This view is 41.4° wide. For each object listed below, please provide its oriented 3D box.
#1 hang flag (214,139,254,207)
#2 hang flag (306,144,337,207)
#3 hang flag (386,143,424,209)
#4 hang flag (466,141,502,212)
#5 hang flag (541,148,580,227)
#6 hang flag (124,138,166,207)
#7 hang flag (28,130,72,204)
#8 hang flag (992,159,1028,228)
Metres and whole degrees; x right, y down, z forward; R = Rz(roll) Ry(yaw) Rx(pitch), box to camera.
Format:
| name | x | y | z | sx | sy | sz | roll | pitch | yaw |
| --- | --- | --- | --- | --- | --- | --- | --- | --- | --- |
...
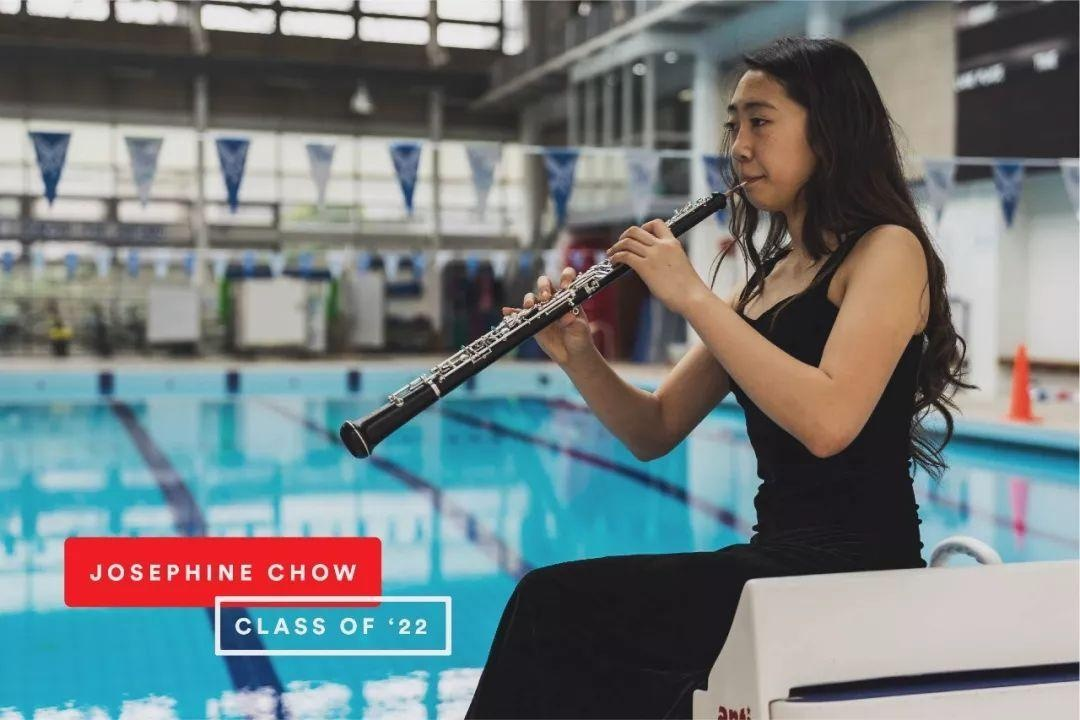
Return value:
| name | x | y | z | sx | sy | sz | roll | pitch | yaw |
| --- | --- | --- | --- | --- | --- | --- | --- | --- | --- |
| hang flag | -1.157 | -0.697 | 5.362 | 0.123 | 0.331 | 0.027 | -5 | 40 | -19 |
| hang flag | -0.835 | -0.705 | 5.389 | 0.116 | 0.295 | 0.090 | -1 | 13 | -10 |
| hang flag | -0.511 | -0.736 | 5.468 | 0.086 | 0.296 | 0.078 | -1 | 13 | -6 |
| hang flag | -0.227 | -0.737 | 5.554 | 0.135 | 0.262 | 0.027 | 6 | 25 | 15 |
| hang flag | 0.074 | -0.786 | 6.376 | 0.126 | 0.042 | 0.426 | -7 | -30 | -8 |
| hang flag | -1.476 | -0.715 | 5.312 | 0.147 | 0.239 | 0.016 | 5 | 13 | 7 |
| hang flag | -1.809 | -0.710 | 5.288 | 0.151 | 0.268 | 0.039 | 4 | 3 | 12 |
| hang flag | 2.644 | -0.953 | 8.127 | 0.149 | 0.365 | 0.470 | -1 | 3 | 17 |
